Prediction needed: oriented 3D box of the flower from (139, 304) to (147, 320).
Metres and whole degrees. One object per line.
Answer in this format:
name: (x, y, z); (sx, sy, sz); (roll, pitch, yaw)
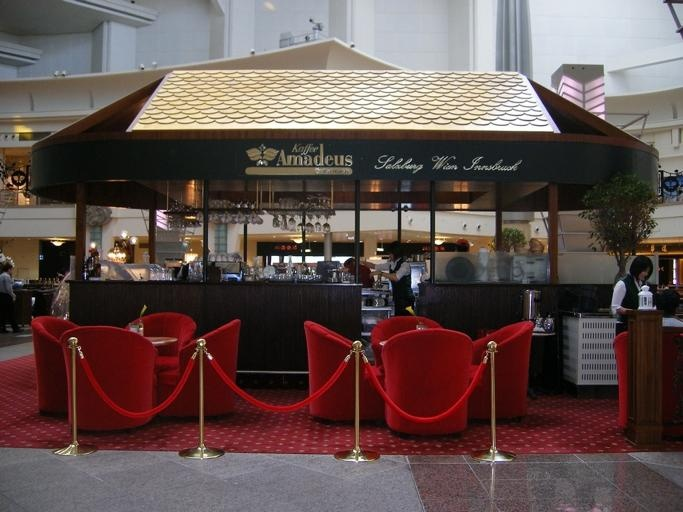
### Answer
flower: (-2.595, 0.732, 8.971); (0.056, 0.193, 0.044); (35, 14, 38)

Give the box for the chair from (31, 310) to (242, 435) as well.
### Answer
chair: (-2.310, 1.122, 7.459); (1.552, 0.997, 1.344); (-3, -3, 11)

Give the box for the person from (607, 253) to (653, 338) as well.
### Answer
person: (3.372, 0.472, 7.982); (0.412, 0.933, 1.586); (2, 6, 23)

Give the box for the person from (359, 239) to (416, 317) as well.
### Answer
person: (0.837, 0.340, 10.153); (0.469, 1.103, 0.394); (1, 5, 7)
